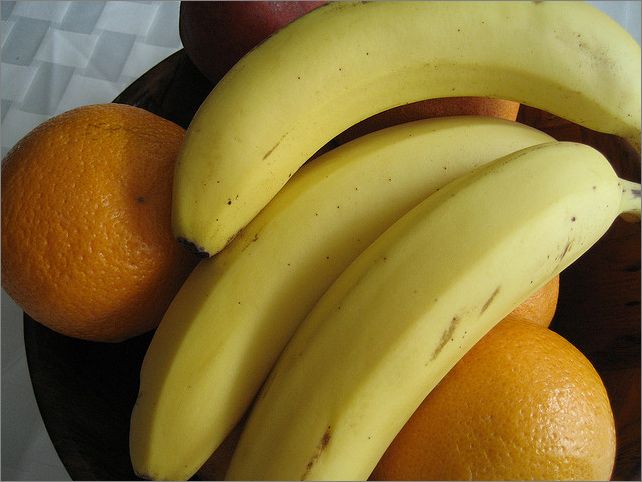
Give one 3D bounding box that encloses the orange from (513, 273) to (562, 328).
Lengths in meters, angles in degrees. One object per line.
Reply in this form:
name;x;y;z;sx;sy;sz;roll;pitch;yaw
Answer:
orange;0.280;0.084;0.852;0.063;0.088;0.077;-1;-62;12
